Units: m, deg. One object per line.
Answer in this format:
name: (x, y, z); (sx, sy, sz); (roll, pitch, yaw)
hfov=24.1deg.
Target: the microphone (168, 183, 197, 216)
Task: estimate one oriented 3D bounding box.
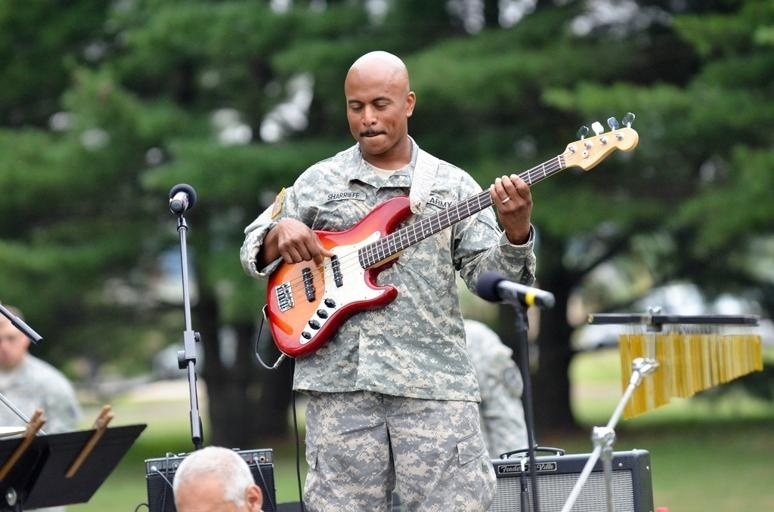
microphone: (-2.413, -0.655, 21.509); (0.202, 0.207, 0.465); (15, 18, 7)
